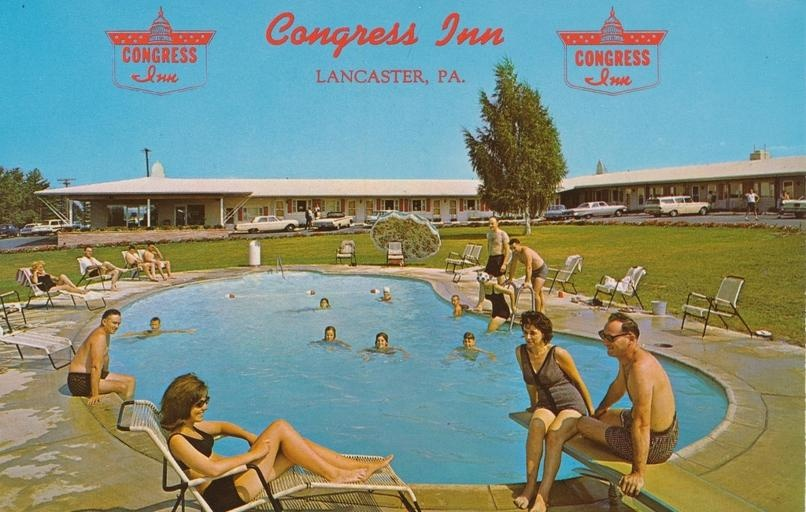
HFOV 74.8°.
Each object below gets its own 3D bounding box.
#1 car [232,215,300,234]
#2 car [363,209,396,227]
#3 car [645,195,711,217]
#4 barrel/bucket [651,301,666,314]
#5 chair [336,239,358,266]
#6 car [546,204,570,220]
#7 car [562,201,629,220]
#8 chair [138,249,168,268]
[{"bbox_3d":[-12.069,-2.847,47.002,5.201,1.381,3.000,-5,5,-25],"label":"car"},{"bbox_3d":[-2.707,-3.764,50.727,2.735,1.196,3.664,-2,-1,-1],"label":"car"},{"bbox_3d":[24.549,-4.503,46.907,5.454,1.730,1.945,-4,5,-13],"label":"car"},{"bbox_3d":[7.285,1.440,14.970,0.368,0.317,0.364,-1,-1,0],"label":"barrel/bucket"},{"bbox_3d":[-2.859,-0.195,27.186,1.199,1.586,1.329,0,7,10],"label":"chair"},{"bbox_3d":[15.733,-4.465,53.910,1.944,1.369,2.874,-2,0,6],"label":"car"},{"bbox_3d":[18.888,-4.583,51.508,5.815,1.497,1.608,-4,5,-14],"label":"car"},{"bbox_3d":[-11.592,0.083,24.343,0.785,1.289,0.792,-7,4,27],"label":"chair"}]
